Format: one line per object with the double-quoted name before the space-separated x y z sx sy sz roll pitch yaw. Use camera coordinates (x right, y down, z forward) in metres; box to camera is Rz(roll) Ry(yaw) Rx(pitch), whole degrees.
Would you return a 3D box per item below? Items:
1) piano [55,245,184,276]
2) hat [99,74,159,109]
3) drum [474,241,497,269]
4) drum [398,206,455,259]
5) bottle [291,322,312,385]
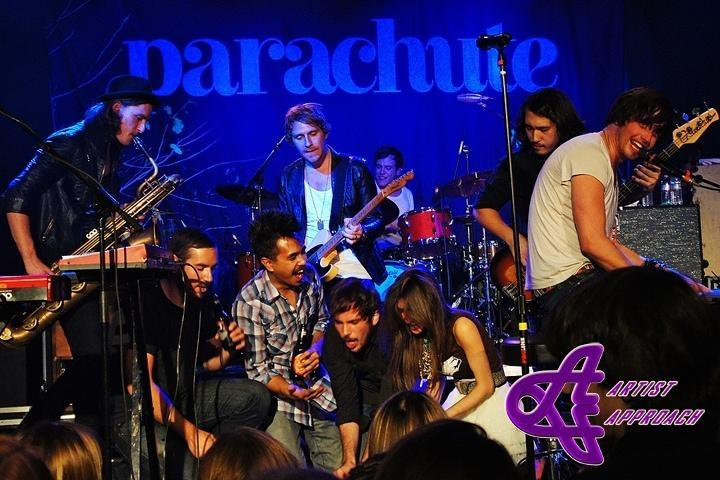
"piano" -1.489 0.136 4.005 0.692 0.173 0.394 2 -12 -25
"hat" -2.076 -1.363 5.823 0.406 0.199 0.496 0 -13 -4
"drum" 1.394 0.172 7.265 0.259 0.298 0.254 3 -9 -37
"drum" 0.763 -0.033 7.388 0.586 0.442 0.582 -4 -24 -2
"bottle" -0.422 0.839 4.694 0.147 0.461 0.311 -2 -10 -5
